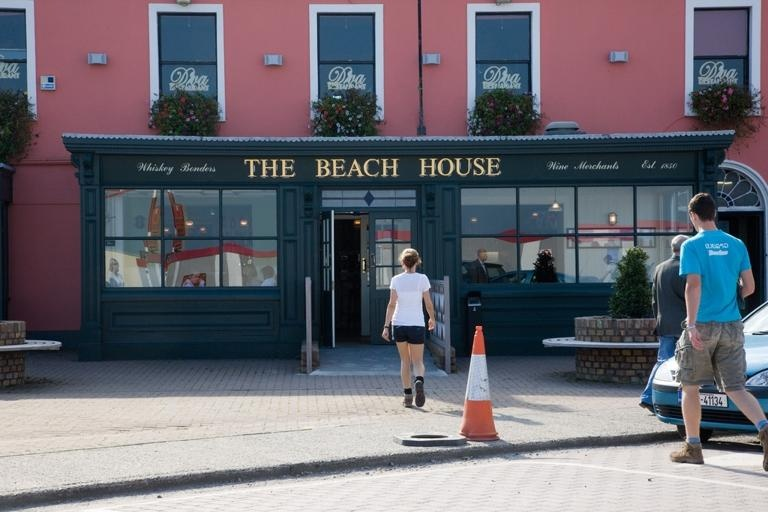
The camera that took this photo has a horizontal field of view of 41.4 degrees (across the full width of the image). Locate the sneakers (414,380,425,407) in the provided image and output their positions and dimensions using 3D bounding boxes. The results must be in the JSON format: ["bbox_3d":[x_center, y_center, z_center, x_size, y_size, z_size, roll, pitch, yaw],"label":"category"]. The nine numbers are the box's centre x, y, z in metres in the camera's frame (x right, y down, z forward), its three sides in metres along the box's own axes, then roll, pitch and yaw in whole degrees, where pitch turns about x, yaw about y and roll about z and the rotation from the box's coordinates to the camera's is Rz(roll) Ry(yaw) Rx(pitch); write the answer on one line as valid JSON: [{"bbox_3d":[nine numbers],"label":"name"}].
[{"bbox_3d":[0.604,2.311,17.264,0.170,0.430,0.188,-3,5,1],"label":"sneakers"}]

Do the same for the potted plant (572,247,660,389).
[{"bbox_3d":[4.818,0.980,19.723,1.717,2.299,1.836,3,0,32],"label":"potted plant"}]

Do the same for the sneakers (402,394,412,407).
[{"bbox_3d":[0.397,2.466,17.452,0.182,0.168,0.178,0,2,-1],"label":"sneakers"}]

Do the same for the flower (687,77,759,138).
[{"bbox_3d":[8.084,-3.428,24.083,1.671,1.250,0.657,0,8,9],"label":"flower"}]

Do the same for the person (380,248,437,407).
[{"bbox_3d":[0.587,1.216,17.521,1.120,2.659,1.305,0,0,-22],"label":"person"}]

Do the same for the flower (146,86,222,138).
[{"bbox_3d":[-4.480,-3.322,24.058,1.793,0.926,1.790,-3,12,-9],"label":"flower"}]
